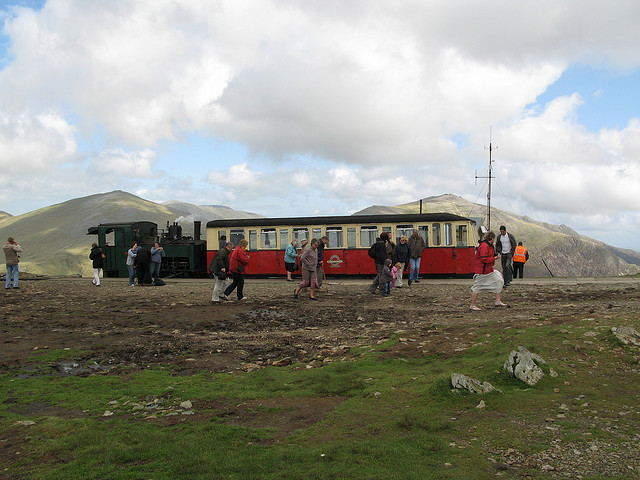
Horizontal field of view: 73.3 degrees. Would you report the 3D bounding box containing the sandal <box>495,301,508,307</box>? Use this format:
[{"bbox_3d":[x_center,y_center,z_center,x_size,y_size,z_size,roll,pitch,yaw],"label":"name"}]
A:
[{"bbox_3d":[5.949,2.116,14.037,0.370,0.148,0.111,-3,10,-6],"label":"sandal"}]

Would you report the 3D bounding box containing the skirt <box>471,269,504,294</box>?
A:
[{"bbox_3d":[5.328,1.341,13.554,0.881,0.873,0.626,-5,-4,23],"label":"skirt"}]

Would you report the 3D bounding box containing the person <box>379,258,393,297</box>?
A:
[{"bbox_3d":[2.801,1.612,17.910,0.547,1.625,1.221,-3,0,-3],"label":"person"}]

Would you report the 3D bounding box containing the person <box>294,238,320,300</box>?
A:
[{"bbox_3d":[-0.507,1.227,17.273,0.911,2.389,1.138,-3,0,-4],"label":"person"}]
